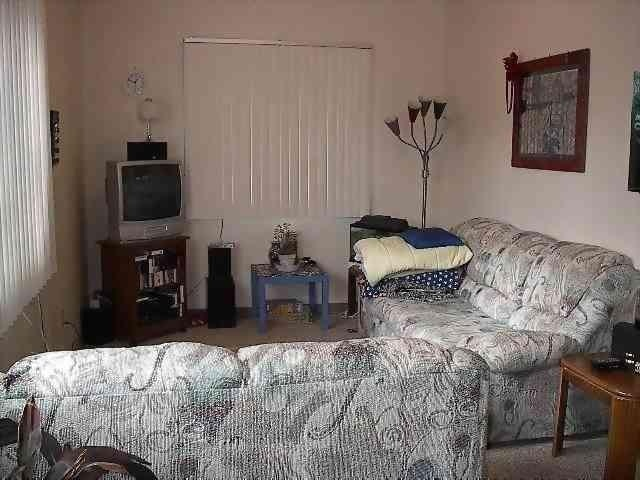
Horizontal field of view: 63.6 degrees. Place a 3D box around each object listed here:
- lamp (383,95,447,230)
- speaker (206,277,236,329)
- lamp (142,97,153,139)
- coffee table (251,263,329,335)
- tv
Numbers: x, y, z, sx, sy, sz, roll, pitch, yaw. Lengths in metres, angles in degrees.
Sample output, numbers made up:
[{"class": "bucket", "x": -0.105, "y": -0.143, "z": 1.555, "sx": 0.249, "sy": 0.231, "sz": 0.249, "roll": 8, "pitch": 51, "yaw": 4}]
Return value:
[{"class": "lamp", "x": 0.891, "y": -0.777, "z": 5.042, "sx": 0.569, "sy": 1.280, "sz": 0.582, "roll": 8, "pitch": 6, "yaw": 11}, {"class": "speaker", "x": -0.912, "y": 0.568, "z": 4.754, "sx": 0.288, "sy": 0.475, "sz": 0.110, "roll": 6, "pitch": 6, "yaw": -12}, {"class": "lamp", "x": -1.614, "y": -1.127, "z": 4.820, "sx": 0.102, "sy": 0.385, "sz": 0.041, "roll": 4, "pitch": 6, "yaw": -24}, {"class": "coffee table", "x": -0.279, "y": 0.527, "z": 4.899, "sx": 0.624, "sy": 0.484, "sz": 0.634, "roll": 0, "pitch": -1, "yaw": -8}, {"class": "tv", "x": -1.492, "y": -0.334, "z": 4.432, "sx": 0.664, "sy": 0.697, "sz": 0.242, "roll": 5, "pitch": 6, "yaw": -23}]
